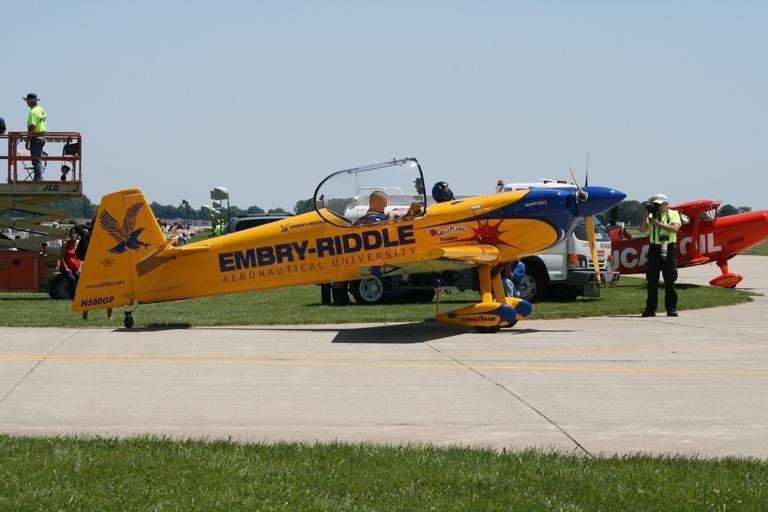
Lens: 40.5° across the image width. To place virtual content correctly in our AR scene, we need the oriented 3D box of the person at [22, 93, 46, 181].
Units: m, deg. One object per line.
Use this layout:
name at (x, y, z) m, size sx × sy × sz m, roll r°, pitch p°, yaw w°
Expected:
person at (-7.992, -2.688, 23.897) m, size 0.438 × 2.023 × 1.202 m, roll -5°, pitch 16°, yaw -17°

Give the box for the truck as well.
truck at (2.261, -0.161, 21.620) m, size 6.078 × 1.998 × 2.581 m, roll -3°, pitch -2°, yaw 0°

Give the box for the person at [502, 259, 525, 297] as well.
person at (2.446, 0.431, 19.783) m, size 0.241 × 0.608 × 0.717 m, roll 13°, pitch 0°, yaw 5°
